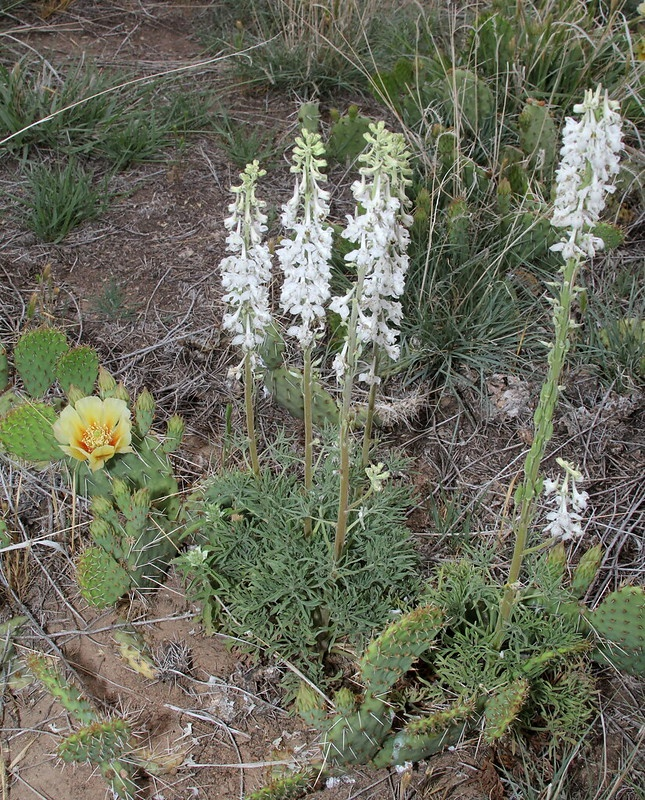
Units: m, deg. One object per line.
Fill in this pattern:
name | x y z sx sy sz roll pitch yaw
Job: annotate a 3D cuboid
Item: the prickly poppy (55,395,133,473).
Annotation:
prickly poppy | -0.677 0.097 2.211 0.210 0.098 0.212 -6 58 -5
